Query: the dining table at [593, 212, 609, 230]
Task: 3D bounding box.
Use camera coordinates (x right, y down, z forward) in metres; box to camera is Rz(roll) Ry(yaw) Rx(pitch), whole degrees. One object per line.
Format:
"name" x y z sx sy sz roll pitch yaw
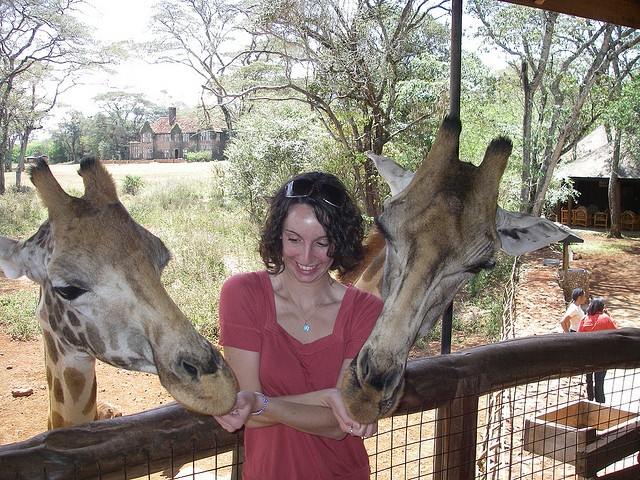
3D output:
"dining table" 12.542 -0.866 26.239 0.600 1.106 0.664 0 -5 33

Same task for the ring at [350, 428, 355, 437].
"ring" 0.175 1.049 3.212 0.031 0.040 0.054 2 -3 2

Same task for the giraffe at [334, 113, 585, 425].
"giraffe" 0.553 0.144 3.066 1.219 1.497 0.620 23 -30 18

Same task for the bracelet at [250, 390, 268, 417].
"bracelet" -0.324 0.889 3.211 0.103 0.110 0.036 -8 3 -21

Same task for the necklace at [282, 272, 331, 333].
"necklace" -0.083 0.372 3.435 0.306 0.326 0.017 5 -10 -2

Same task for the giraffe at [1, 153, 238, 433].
"giraffe" -1.198 0.399 3.351 1.571 1.733 0.596 3 6 36
